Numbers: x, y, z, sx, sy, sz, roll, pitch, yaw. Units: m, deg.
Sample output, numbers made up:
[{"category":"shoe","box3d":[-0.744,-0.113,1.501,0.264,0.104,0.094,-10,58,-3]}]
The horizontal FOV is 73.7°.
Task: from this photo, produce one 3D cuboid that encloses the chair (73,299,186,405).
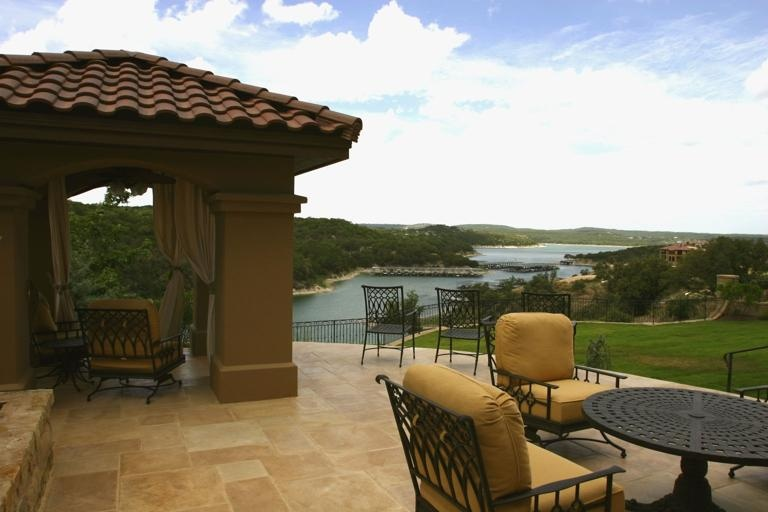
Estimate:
[{"category":"chair","box3d":[-3.615,1.322,7.561,1.192,1.239,1.453,0,-6,12]}]
